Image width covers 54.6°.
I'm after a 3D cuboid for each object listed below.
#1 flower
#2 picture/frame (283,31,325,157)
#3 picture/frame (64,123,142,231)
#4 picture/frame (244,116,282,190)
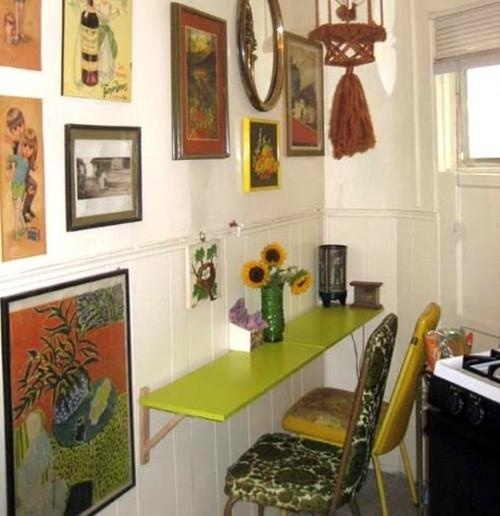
[{"bbox_3d":[0.093,0.113,2.224,0.215,0.309,0.104,3,-9,-8],"label":"flower"},{"bbox_3d":[0.280,-0.890,2.614,0.024,0.762,0.538,2,8,25],"label":"picture/frame"},{"bbox_3d":[-0.436,-0.239,1.414,0.010,0.259,0.256,5,13,22],"label":"picture/frame"},{"bbox_3d":[0.052,-0.487,2.271,0.027,0.320,0.301,2,7,24],"label":"picture/frame"}]
